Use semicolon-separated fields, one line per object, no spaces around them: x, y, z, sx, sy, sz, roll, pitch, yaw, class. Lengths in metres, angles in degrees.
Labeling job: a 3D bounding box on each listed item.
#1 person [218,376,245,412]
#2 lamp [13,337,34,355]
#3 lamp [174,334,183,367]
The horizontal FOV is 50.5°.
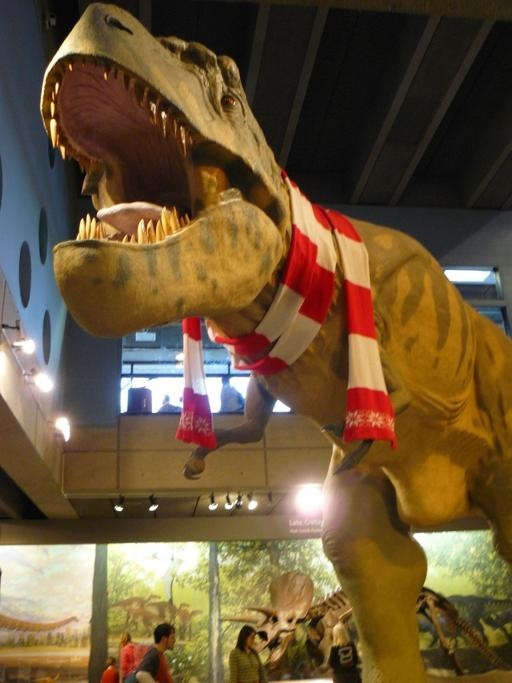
-0.394;0.886;8.523;0.198;0.346;0.778;-8;-64;23;person
-1.906;0.026;4.441;0.140;0.070;0.127;2;-65;-7;lamp
-1.225;0.186;8.761;0.113;0.522;0.171;-8;-26;13;lamp
